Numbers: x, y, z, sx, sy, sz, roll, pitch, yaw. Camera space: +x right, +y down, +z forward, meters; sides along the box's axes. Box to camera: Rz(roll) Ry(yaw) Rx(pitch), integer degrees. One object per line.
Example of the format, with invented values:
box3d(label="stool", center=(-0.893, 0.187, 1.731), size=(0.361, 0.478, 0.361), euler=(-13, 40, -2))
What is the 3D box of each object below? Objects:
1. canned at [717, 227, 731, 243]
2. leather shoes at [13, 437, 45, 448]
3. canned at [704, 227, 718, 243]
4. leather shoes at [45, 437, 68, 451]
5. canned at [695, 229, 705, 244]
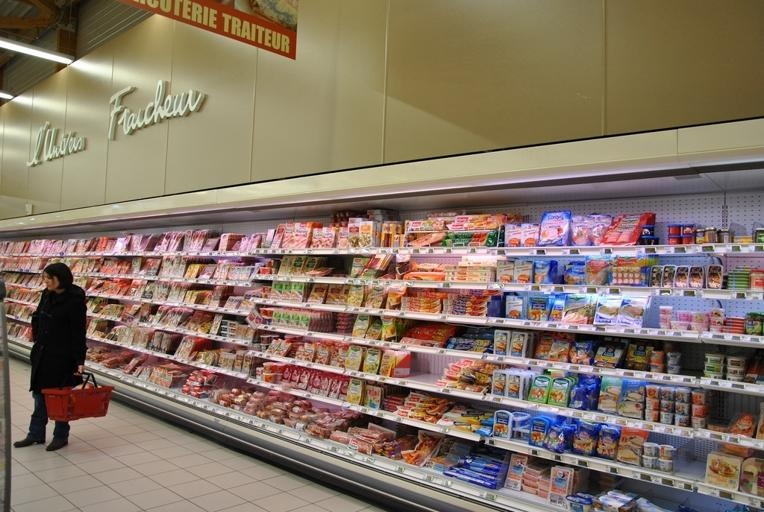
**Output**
box3d(label="canned", center=(2.503, -0.147, 3.650), size=(0.093, 0.094, 0.091), euler=(-6, 8, -42))
box3d(label="leather shoes", center=(-4.150, 2.191, 5.905), size=(0.317, 0.121, 0.113), euler=(9, -9, -36))
box3d(label="canned", center=(2.428, -0.157, 3.682), size=(0.086, 0.124, 0.035), euler=(2, 1, 30))
box3d(label="leather shoes", center=(-3.783, 2.197, 5.816), size=(0.110, 0.086, 0.211), euler=(-1, -11, 4))
box3d(label="canned", center=(2.390, -0.150, 3.752), size=(0.057, 0.122, 0.141), euler=(2, 1, 32))
